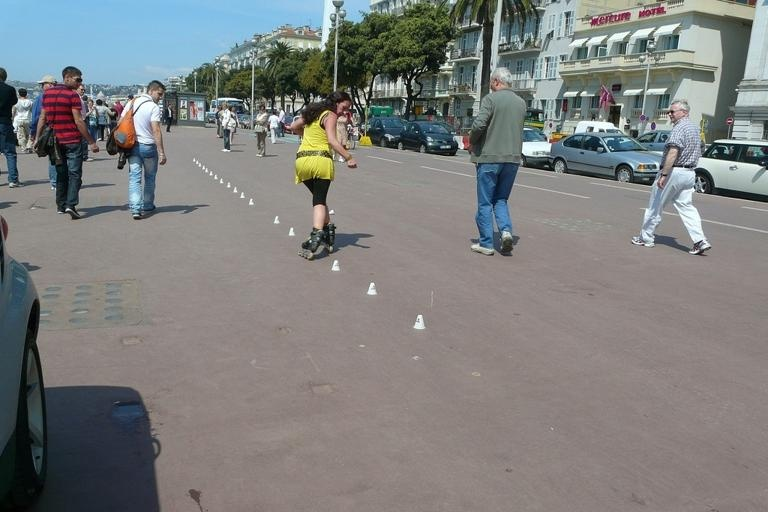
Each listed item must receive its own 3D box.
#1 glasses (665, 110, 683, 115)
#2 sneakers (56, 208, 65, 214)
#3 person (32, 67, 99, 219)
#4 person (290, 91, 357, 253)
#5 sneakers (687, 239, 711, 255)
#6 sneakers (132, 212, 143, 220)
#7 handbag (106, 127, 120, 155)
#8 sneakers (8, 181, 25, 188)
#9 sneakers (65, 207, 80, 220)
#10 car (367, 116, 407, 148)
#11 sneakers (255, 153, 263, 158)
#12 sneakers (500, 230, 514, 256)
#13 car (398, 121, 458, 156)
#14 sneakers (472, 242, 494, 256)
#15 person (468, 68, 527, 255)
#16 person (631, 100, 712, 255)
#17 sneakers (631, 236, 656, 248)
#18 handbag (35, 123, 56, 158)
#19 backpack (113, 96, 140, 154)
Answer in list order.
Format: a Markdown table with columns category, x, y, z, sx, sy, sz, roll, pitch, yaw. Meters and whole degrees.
| category | x | y | z | sx | sy | sz | roll | pitch | yaw |
| --- | --- | --- | --- | --- | --- | --- | --- | --- | --- |
| glasses | 4.581 | -2.307 | 9.405 | 0.167 | 0.104 | 0.261 | -3 | 16 | -18 |
| sneakers | -5.809 | -0.810 | 10.567 | 0.120 | 0.070 | 0.085 | 5 | -23 | 2 |
| person | -5.554 | -1.960 | 10.260 | 0.889 | 2.556 | 1.482 | -6 | 16 | -30 |
| person | -0.869 | -1.116 | 8.007 | 0.801 | 2.177 | 0.941 | 1 | 14 | -5 |
| sneakers | 4.961 | -0.143 | 9.326 | 0.253 | 0.269 | 0.330 | 9 | 16 | 25 |
| sneakers | -4.351 | -0.701 | 10.361 | 0.091 | 0.101 | 0.217 | 1 | 14 | -9 |
| handbag | -4.712 | -1.951 | 10.198 | 0.173 | 0.468 | 0.325 | 10 | 3 | -11 |
| sneakers | -8.703 | -1.674 | 13.907 | 0.148 | 0.182 | 0.416 | 9 | 16 | 12 |
| sneakers | -5.357 | -0.750 | 10.182 | 0.148 | 0.158 | 0.360 | 4 | 10 | 6 |
| car | 0.292 | -7.792 | 36.901 | 1.495 | 1.256 | 2.652 | -4 | 11 | -21 |
| sneakers | -5.577 | -4.477 | 26.086 | 0.198 | 0.263 | 0.608 | -3 | 17 | -24 |
| sneakers | 1.799 | -0.183 | 8.680 | 0.153 | 0.399 | 0.192 | 2 | 51 | 2 |
| car | 2.595 | -6.770 | 33.774 | 1.878 | 1.750 | 3.353 | -6 | 17 | -30 |
| sneakers | 1.443 | -0.131 | 8.760 | 0.320 | 0.151 | 0.149 | 19 | 29 | 33 |
| person | 1.618 | -1.394 | 8.710 | 0.734 | 2.661 | 0.816 | 5 | 14 | 11 |
| person | 4.798 | -1.311 | 9.657 | 1.107 | 2.385 | 1.117 | 9 | 16 | 27 |
| sneakers | 4.299 | -0.286 | 9.854 | 0.167 | 0.176 | 0.371 | -10 | 25 | -28 |
| handbag | -5.835 | -1.979 | 10.191 | 0.221 | 0.553 | 0.416 | 3 | 5 | -22 |
| backpack | -4.513 | -2.254 | 10.289 | 0.420 | 0.804 | 0.481 | 12 | 17 | 34 |
